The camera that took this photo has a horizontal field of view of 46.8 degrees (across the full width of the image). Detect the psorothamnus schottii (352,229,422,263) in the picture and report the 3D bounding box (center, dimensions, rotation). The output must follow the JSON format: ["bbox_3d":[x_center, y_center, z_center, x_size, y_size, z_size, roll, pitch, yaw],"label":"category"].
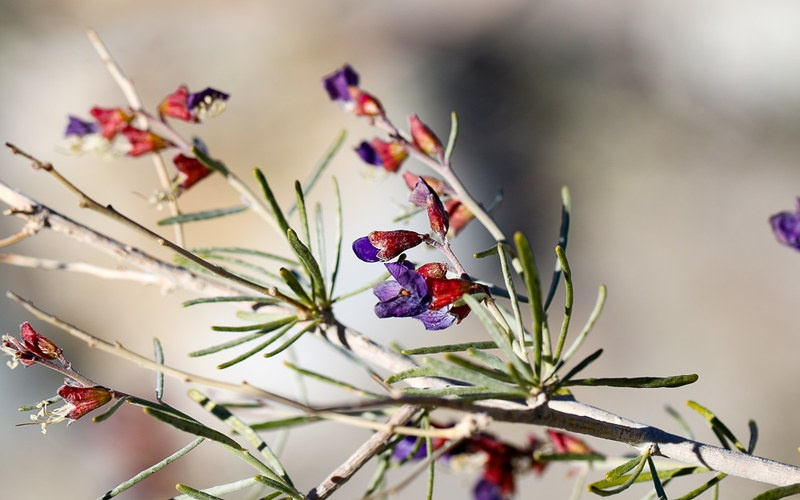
[{"bbox_3d":[-0.062,-0.022,4.338,0.271,0.160,0.110,-17,-44,-1],"label":"psorothamnus schottii"}]

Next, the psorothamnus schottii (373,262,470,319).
[{"bbox_3d":[0.092,0.195,4.321,0.416,0.213,0.234,-7,-36,-8],"label":"psorothamnus schottii"}]

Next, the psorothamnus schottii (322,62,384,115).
[{"bbox_3d":[-0.279,-0.824,4.844,0.164,0.109,0.318,-24,-16,2],"label":"psorothamnus schottii"}]

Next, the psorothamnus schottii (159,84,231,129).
[{"bbox_3d":[-1.012,-0.712,4.546,0.294,0.143,0.189,-22,-52,-12],"label":"psorothamnus schottii"}]

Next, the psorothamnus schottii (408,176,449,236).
[{"bbox_3d":[0.154,-0.175,4.426,0.116,0.140,0.308,-15,-68,49],"label":"psorothamnus schottii"}]

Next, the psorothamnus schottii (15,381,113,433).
[{"bbox_3d":[-1.547,0.717,4.400,0.497,0.239,0.208,-10,-12,-7],"label":"psorothamnus schottii"}]

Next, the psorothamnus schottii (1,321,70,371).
[{"bbox_3d":[-1.702,0.491,4.368,0.318,0.201,0.173,27,-9,-7],"label":"psorothamnus schottii"}]
